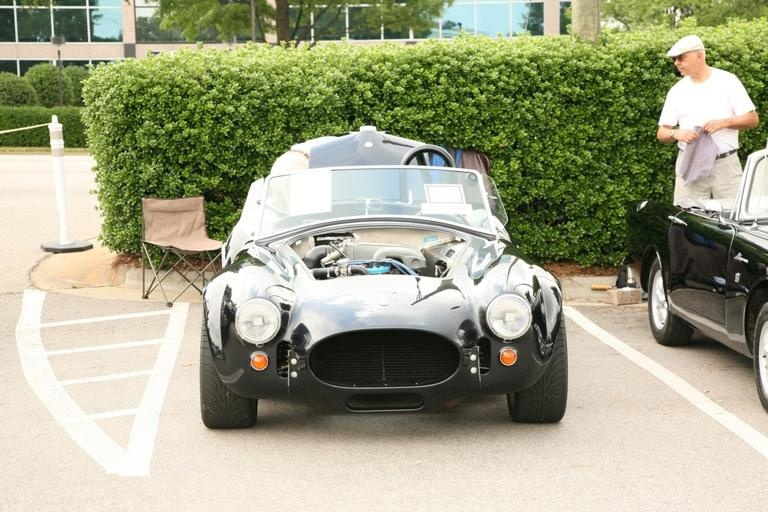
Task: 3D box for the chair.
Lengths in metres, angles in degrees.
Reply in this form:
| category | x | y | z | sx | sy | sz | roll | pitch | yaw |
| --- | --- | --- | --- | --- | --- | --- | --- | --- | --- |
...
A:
| category | x | y | z | sx | sy | sz | roll | pitch | yaw |
| --- | --- | --- | --- | --- | --- | --- | --- | --- | --- |
| chair | -2.465 | -0.056 | 10.122 | 1.141 | 1.363 | 1.097 | -1 | 8 | -15 |

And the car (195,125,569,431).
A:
| category | x | y | z | sx | sy | sz | roll | pitch | yaw |
| --- | --- | --- | --- | --- | --- | --- | --- | --- | --- |
| car | 0.046 | 0.222 | 7.590 | 1.959 | 1.387 | 3.259 | 0 | 18 | 1 |

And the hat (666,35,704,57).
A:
| category | x | y | z | sx | sy | sz | roll | pitch | yaw |
| --- | --- | --- | --- | --- | --- | --- | --- | --- | --- |
| hat | 3.444 | -2.405 | 9.285 | 0.418 | 0.211 | 0.295 | 0 | 9 | 0 |
